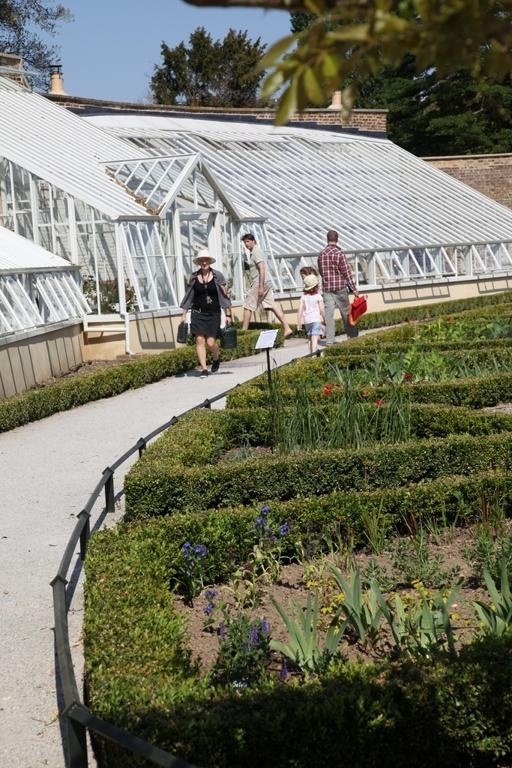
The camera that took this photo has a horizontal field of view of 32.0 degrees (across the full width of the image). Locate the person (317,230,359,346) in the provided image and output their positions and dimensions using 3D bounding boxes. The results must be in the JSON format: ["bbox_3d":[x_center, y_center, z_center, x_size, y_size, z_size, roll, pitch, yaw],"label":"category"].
[{"bbox_3d":[1.131,-1.366,12.679,0.757,1.548,0.554,-11,8,-41],"label":"person"}]

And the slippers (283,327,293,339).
[{"bbox_3d":[0.569,-0.907,16.378,0.091,0.235,0.280,-4,-6,2],"label":"slippers"}]

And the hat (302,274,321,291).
[{"bbox_3d":[0.719,-1.356,11.971,0.182,0.283,0.433,7,-5,-1],"label":"hat"}]

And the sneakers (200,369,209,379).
[{"bbox_3d":[-0.693,-0.137,11.797,0.113,0.139,0.336,-1,-2,0],"label":"sneakers"}]

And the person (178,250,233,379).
[{"bbox_3d":[-0.666,-0.907,11.461,0.615,1.538,1.691,7,-5,-5],"label":"person"}]
